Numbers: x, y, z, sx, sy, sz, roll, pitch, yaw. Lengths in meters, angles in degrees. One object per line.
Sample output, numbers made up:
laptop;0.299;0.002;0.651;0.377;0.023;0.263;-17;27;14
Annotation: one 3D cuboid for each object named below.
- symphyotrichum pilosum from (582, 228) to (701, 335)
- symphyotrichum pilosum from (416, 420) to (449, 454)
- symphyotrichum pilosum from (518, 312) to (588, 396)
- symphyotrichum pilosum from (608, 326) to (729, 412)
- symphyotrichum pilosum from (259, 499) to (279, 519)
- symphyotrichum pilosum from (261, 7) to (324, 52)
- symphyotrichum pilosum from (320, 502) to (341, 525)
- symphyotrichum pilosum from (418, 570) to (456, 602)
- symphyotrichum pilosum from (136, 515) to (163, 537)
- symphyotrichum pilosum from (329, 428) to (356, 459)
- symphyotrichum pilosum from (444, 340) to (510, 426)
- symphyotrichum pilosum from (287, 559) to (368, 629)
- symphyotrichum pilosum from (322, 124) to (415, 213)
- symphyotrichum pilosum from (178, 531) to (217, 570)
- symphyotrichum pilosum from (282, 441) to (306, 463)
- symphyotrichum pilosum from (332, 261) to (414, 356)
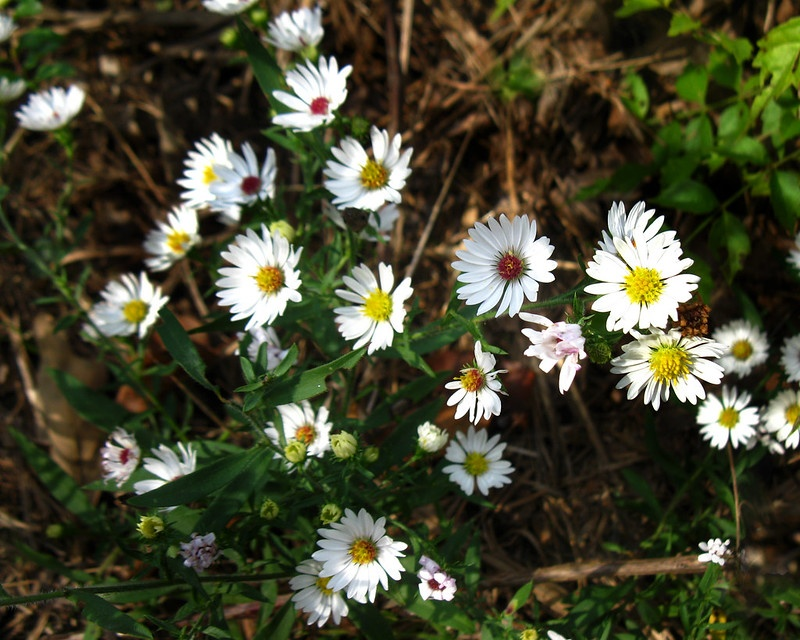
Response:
symphyotrichum pilosum;0.912;-0.116;3.044;0.408;0.347;0.286;-8;47;16
symphyotrichum pilosum;0.131;0.494;3.337;0.110;0.084;0.119;30;60;29
symphyotrichum pilosum;0.537;0.089;3.006;0.107;0.267;0.291;-17;43;-23
symphyotrichum pilosum;1.023;0.193;3.046;0.414;0.283;0.254;-27;45;0
symphyotrichum pilosum;-0.527;0.758;3.213;0.058;0.083;0.066;0;33;-21
symphyotrichum pilosum;-0.491;-1.315;3.723;0.203;0.110;0.248;13;75;2
symphyotrichum pilosum;-0.280;0.756;3.235;0.065;0.087;0.069;19;19;32
symphyotrichum pilosum;0.136;1.036;3.163;0.127;0.140;0.062;-17;6;46
symphyotrichum pilosum;-1.001;0.815;3.207;0.077;0.055;0.096;-1;75;20
symphyotrichum pilosum;-0.224;0.497;3.186;0.100;0.122;0.088;-23;44;1
symphyotrichum pilosum;0.318;0.304;3.231;0.217;0.464;0.292;-7;46;16
symphyotrichum pilosum;-0.337;1.103;3.364;0.264;0.253;0.071;-55;8;13
symphyotrichum pilosum;-0.135;-0.611;3.237;0.366;0.239;0.315;-28;46;-1
symphyotrichum pilosum;-0.798;0.913;3.165;0.120;0.153;0.062;-10;14;-5
symphyotrichum pilosum;-0.419;0.510;3.211;0.076;0.088;0.074;-3;40;49
symphyotrichum pilosum;-0.108;-0.030;3.240;0.324;0.128;0.341;39;99;16
